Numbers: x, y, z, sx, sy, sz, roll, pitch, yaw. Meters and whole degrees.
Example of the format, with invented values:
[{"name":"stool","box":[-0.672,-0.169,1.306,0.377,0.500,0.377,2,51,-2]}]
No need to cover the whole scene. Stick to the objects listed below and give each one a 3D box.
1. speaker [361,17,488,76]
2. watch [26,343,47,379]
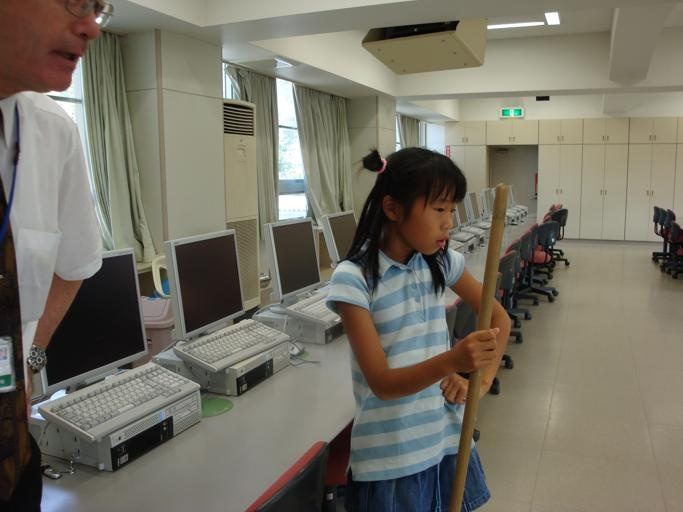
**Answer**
[{"name":"speaker","box":[0.625,-1.584,3.382,0.722,0.290,0.681,5,12,33]},{"name":"watch","box":[-0.749,0.246,1.117,0.045,0.068,0.082,-10,20,-36]}]
